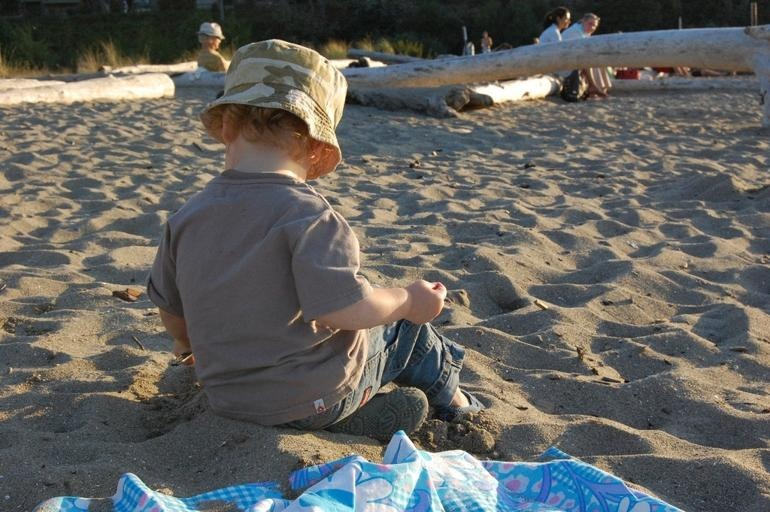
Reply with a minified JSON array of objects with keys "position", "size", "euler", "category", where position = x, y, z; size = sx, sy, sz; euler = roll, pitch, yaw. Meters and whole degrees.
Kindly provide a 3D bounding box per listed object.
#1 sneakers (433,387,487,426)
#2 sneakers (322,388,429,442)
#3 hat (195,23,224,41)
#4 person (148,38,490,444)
[{"position":[0.439,0.882,4.859],"size":[0.413,0.140,0.133],"euler":[-12,24,-24],"category":"sneakers"},{"position":[0.022,0.863,4.650],"size":[0.733,0.198,0.290],"euler":[-12,-1,-4],"category":"sneakers"},{"position":[-2.638,-3.397,12.330],"size":[0.329,0.228,0.525],"euler":[-6,16,-12],"category":"hat"},{"position":[-0.462,-0.038,4.378],"size":[1.618,2.165,0.796],"euler":[-6,20,-11],"category":"person"}]
